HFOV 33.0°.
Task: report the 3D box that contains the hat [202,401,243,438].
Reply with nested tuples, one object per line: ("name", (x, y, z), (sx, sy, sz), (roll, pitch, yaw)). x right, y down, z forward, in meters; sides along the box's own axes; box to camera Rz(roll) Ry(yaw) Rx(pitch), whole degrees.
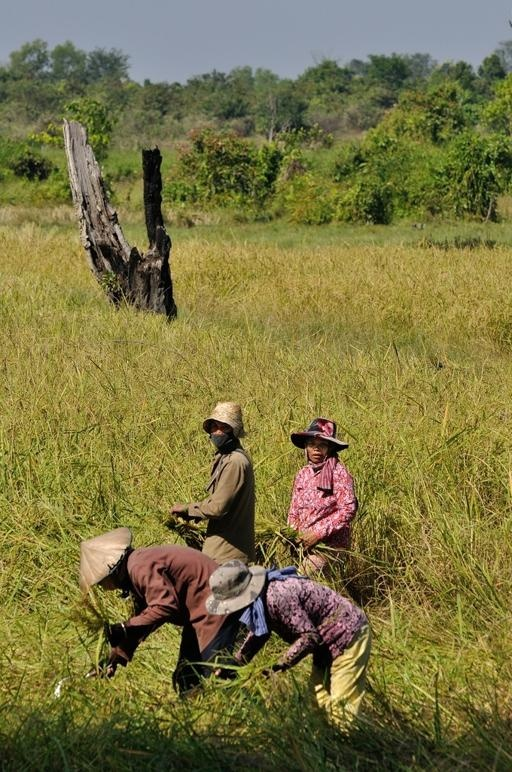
("hat", (-0.149, 0.157, 4.259), (0.143, 0.150, 0.203), (7, 12, 18))

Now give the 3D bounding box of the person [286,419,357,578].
("person", (0.335, 0.570, 4.478), (0.349, 0.732, 0.469), (-3, 16, 1))

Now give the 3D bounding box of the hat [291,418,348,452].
("hat", (0.340, 0.255, 4.588), (0.231, 0.112, 0.218), (25, -18, -34))

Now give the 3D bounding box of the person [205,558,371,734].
("person", (0.183, 1.081, 3.429), (0.579, 0.852, 0.353), (-14, 2, -5))
